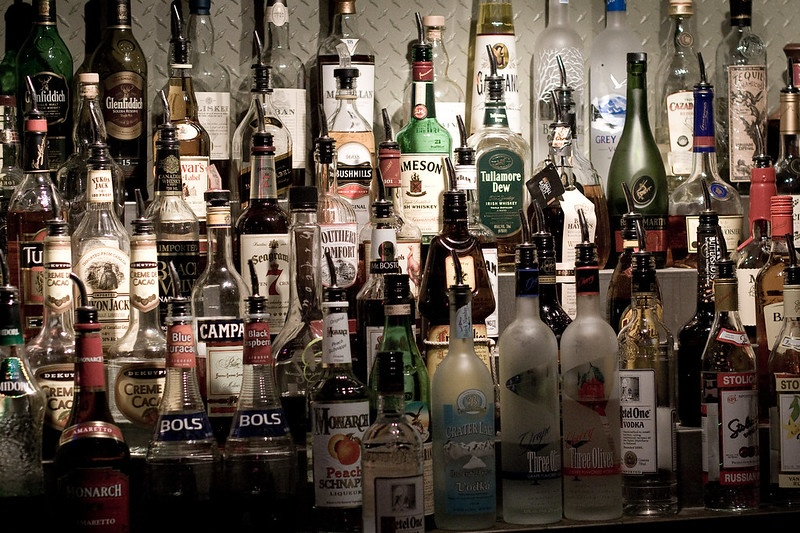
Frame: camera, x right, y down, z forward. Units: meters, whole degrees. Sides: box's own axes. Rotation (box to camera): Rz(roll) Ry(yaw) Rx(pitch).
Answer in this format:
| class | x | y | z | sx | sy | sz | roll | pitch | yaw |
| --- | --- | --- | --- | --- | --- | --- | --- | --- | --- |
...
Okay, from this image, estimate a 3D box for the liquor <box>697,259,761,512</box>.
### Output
| class | x | y | z | sx | sy | sz | roll | pitch | yaw |
| --- | --- | --- | --- | --- | --- | --- | --- | --- | --- |
| liquor | 0.722 | 0.260 | 2.082 | 0.120 | 0.499 | 0.054 | -2 | -1 | 14 |
